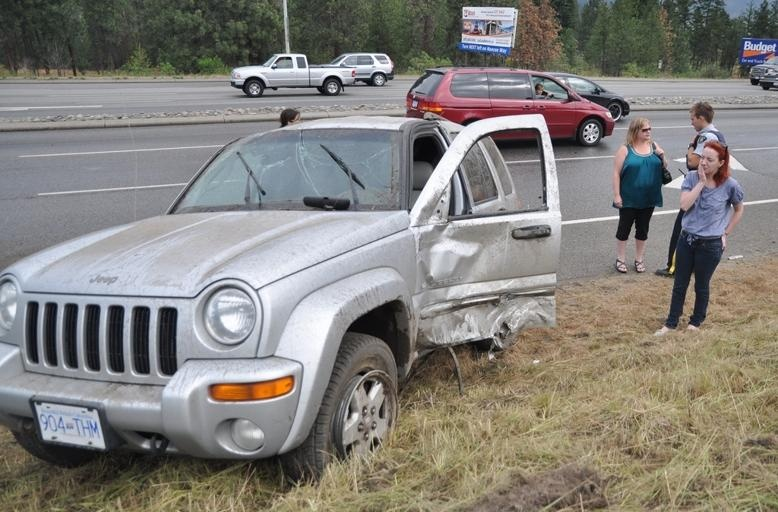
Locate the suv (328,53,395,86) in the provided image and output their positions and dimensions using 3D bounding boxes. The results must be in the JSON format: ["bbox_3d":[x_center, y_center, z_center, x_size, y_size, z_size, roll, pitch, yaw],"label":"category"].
[{"bbox_3d":[-1.253,-9.289,33.084,3.157,1.571,1.631,-1,25,-11],"label":"suv"}]

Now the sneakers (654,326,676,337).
[{"bbox_3d":[2.905,0.805,6.875,0.260,0.123,0.104,0,-7,-32],"label":"sneakers"}]

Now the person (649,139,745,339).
[{"bbox_3d":[3.241,-0.203,6.811,0.817,1.942,0.480,-13,18,-36],"label":"person"}]
